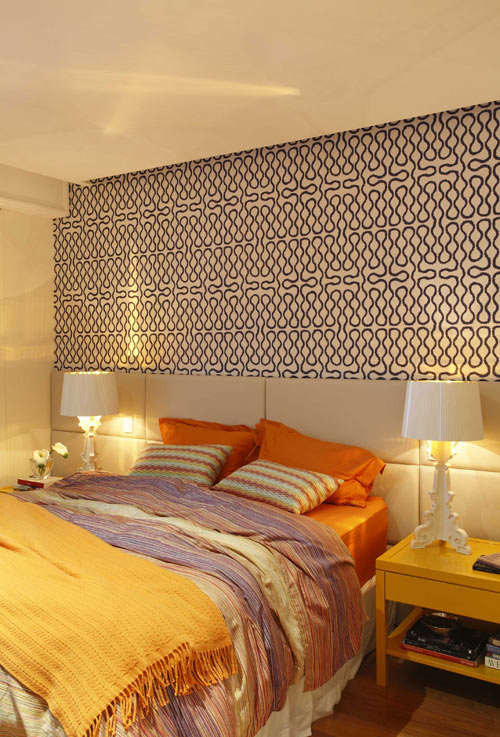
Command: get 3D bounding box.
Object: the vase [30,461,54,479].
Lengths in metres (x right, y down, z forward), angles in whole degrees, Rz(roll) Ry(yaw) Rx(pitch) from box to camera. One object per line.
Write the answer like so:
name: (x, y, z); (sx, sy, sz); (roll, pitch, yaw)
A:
vase: (-1.452, 0.699, 3.886); (0.143, 0.116, 0.136); (4, -6, -16)

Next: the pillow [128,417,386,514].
pillow: (0.111, 0.499, 3.033); (1.161, 0.395, 0.211); (7, -13, 39)

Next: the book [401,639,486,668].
book: (0.781, 1.126, 2.224); (0.152, 0.031, 0.145); (-3, -6, 39)

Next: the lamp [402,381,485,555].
lamp: (0.843, 0.419, 2.463); (0.275, 0.738, 0.298); (-2, 3, -42)
